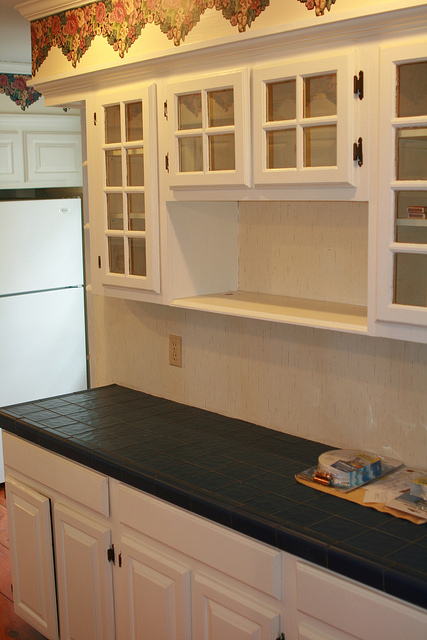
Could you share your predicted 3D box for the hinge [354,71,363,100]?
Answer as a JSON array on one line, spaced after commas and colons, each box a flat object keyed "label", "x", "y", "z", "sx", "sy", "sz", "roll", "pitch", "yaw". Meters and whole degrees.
[{"label": "hinge", "x": 0.306, "y": -0.496, "z": 1.112, "sx": 0.017, "sy": 0.057, "sz": 0.007, "roll": 0, "pitch": 5, "yaw": 19}]

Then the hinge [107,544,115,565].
[{"label": "hinge", "x": -0.319, "y": 0.729, "z": 1.631, "sx": 0.031, "sy": 0.059, "sz": 0.010, "roll": 3, "pitch": 6, "yaw": 45}]

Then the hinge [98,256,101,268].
[{"label": "hinge", "x": -0.445, "y": -0.227, "z": 2.043, "sx": 0.007, "sy": 0.033, "sz": 0.031, "roll": 0, "pitch": 3, "yaw": -22}]

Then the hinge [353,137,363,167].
[{"label": "hinge", "x": 0.312, "y": -0.365, "z": 1.138, "sx": 0.020, "sy": 0.056, "sz": 0.010, "roll": 0, "pitch": 5, "yaw": 21}]

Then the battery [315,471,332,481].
[{"label": "battery", "x": 0.267, "y": 0.381, "z": 1.288, "sx": 0.014, "sy": 0.015, "sz": 0.055, "roll": -4, "pitch": 6, "yaw": -24}]
